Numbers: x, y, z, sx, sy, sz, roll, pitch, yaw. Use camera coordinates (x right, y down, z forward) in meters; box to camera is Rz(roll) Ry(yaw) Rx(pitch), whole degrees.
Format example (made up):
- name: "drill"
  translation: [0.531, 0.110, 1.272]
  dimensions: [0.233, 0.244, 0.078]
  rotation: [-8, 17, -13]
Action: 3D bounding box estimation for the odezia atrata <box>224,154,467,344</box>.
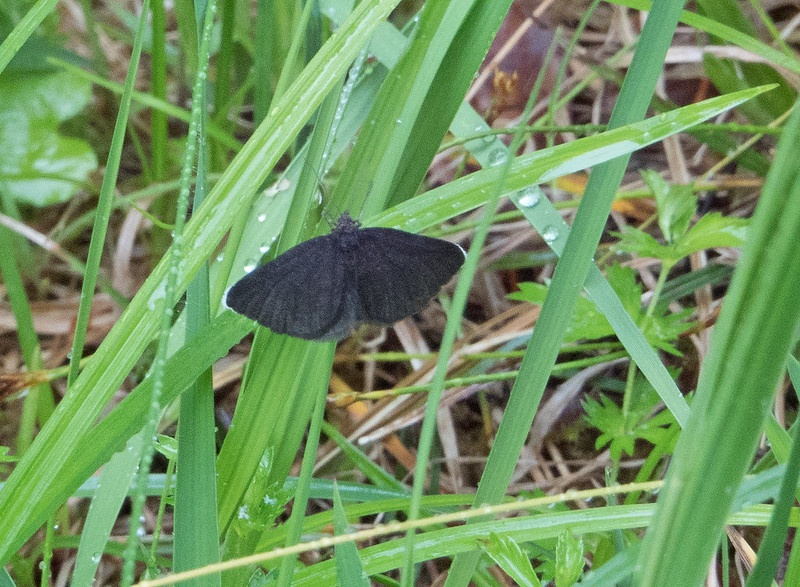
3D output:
- name: "odezia atrata"
  translation: [-0.094, -0.043, 1.964]
  dimensions: [0.341, 0.318, 0.652]
  rotation: [-2, 0, 30]
